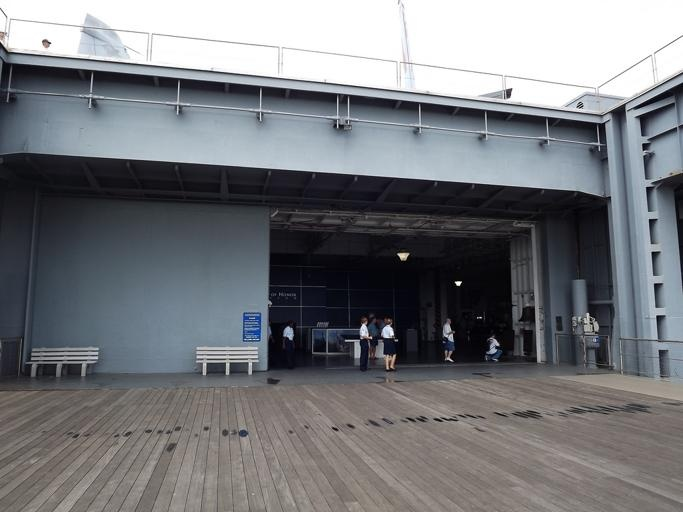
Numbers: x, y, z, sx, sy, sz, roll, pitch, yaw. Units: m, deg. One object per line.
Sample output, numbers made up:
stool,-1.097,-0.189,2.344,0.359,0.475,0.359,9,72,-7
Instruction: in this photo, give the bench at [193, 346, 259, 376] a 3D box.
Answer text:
bench,-3.835,3.483,16.994,2.110,0.853,0.961,1,0,-12
